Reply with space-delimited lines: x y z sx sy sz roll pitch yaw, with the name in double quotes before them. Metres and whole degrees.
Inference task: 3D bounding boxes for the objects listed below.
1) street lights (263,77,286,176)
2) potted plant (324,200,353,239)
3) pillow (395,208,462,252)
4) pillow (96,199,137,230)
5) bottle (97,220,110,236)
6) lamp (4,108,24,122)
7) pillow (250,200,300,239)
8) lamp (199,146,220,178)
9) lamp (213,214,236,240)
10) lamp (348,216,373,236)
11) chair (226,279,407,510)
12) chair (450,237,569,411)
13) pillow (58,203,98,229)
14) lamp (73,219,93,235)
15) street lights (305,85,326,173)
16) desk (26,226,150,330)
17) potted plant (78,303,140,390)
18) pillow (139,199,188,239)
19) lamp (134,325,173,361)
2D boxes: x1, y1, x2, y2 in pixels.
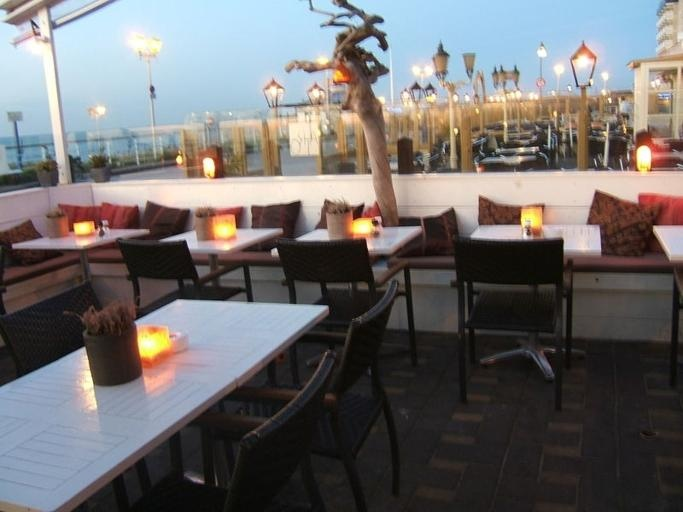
"street lights" -0.805 -1.633 6.456 0.279 1.132 0.789 -5 14 -7
"potted plant" -0.009 -0.269 4.078 0.169 0.301 0.197 6 14 40
"pillow" 0.898 -0.261 4.873 0.411 0.436 0.131 1 -26 9
"pillow" -2.687 -0.492 6.137 0.415 0.344 0.165 3 -24 8
"bottle" -2.371 -0.279 5.096 0.121 0.225 0.046 0 -9 -39
"lamp" -5.629 -2.378 8.779 0.373 0.150 0.150 3 15 24
"pillow" -0.681 -0.380 5.410 0.451 0.420 0.216 -2 7 7
"lamp" -1.654 -1.124 6.326 0.255 0.358 0.228 -5 0 11
"lamp" -0.980 -0.244 4.353 0.191 0.198 0.189 -1 4 -34
"lamp" 0.173 -0.237 4.147 0.175 0.135 0.130 2 12 10
"chair" -0.048 0.537 2.777 0.932 1.422 0.873 3 7 22
"chair" 1.233 0.344 3.628 0.868 1.167 0.944 -5 13 2
"pillow" -2.979 -0.446 5.775 0.336 0.271 0.120 -7 9 -7
"lamp" -2.490 -0.282 4.931 0.147 0.110 0.154 9 12 30
"street lights" -0.275 -1.654 6.218 0.186 0.850 0.183 -6 4 -5
"desk" -2.441 0.238 5.275 1.065 1.108 0.773 -8 5 39
"potted plant" -0.877 0.344 1.962 0.202 0.304 0.206 -2 10 -36
"pillow" -2.048 -0.428 5.945 0.470 0.359 0.189 7 11 24
"lamp" -0.753 0.335 2.107 0.137 0.142 0.142 -2 7 -6
